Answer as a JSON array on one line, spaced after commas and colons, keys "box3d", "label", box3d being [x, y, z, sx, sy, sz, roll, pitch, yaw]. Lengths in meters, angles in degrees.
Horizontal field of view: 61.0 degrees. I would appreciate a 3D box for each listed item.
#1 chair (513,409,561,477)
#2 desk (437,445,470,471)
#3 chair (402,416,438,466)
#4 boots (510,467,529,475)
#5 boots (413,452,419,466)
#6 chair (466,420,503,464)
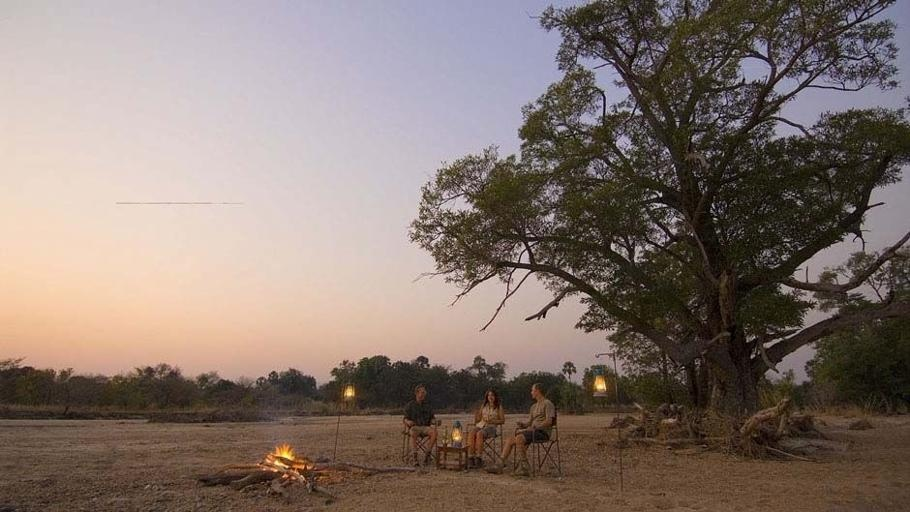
[{"box3d": [3.764, 8.971, 34.594, 2.324, 3.898, 2.372, 4, -14, -7], "label": "chair"}, {"box3d": [-0.106, 8.652, 33.347, 1.387, 1.076, 0.925, 0, 9, 1], "label": "desk"}, {"box3d": [-1.585, 8.298, 34.650, 1.471, 2.070, 2.576, -1, 9, -4], "label": "chair"}, {"box3d": [2.815, 9.082, 32.615, 0.707, 0.355, 0.452, 0, 9, 2], "label": "boots"}, {"box3d": [-1.717, 8.957, 34.025, 0.259, 0.541, 0.916, -1, 9, -5], "label": "boots"}, {"box3d": [1.144, 8.103, 34.245, 1.304, 2.260, 1.740, -8, -16, 33], "label": "chair"}]
